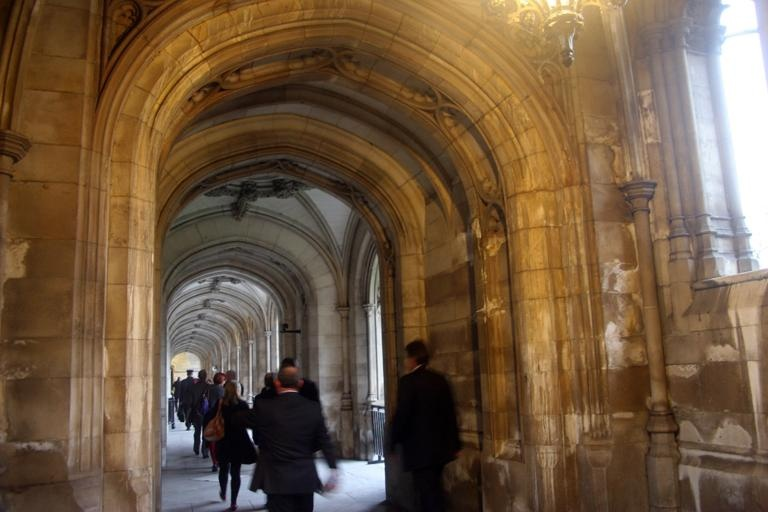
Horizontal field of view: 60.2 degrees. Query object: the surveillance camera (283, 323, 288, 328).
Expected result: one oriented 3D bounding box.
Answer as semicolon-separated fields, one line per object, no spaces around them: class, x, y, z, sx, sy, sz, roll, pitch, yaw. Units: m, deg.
surveillance camera;-2.269;1.602;15.195;0.115;0.082;0.114;-2;-4;34
